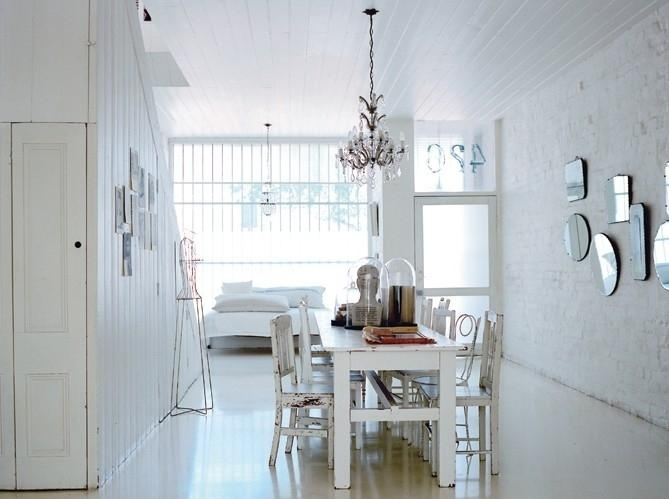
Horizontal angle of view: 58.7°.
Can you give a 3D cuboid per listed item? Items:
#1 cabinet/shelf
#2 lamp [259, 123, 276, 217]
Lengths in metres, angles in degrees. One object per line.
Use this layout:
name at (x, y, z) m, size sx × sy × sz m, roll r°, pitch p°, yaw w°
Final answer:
cabinet/shelf at (-2.006, 0.394, 4.170) m, size 0.527 × 2.534 × 0.352 m, roll -1°, pitch 5°, yaw -4°
lamp at (-1.069, -1.223, 9.529) m, size 0.258 × 1.335 × 0.708 m, roll -1°, pitch 5°, yaw -7°
